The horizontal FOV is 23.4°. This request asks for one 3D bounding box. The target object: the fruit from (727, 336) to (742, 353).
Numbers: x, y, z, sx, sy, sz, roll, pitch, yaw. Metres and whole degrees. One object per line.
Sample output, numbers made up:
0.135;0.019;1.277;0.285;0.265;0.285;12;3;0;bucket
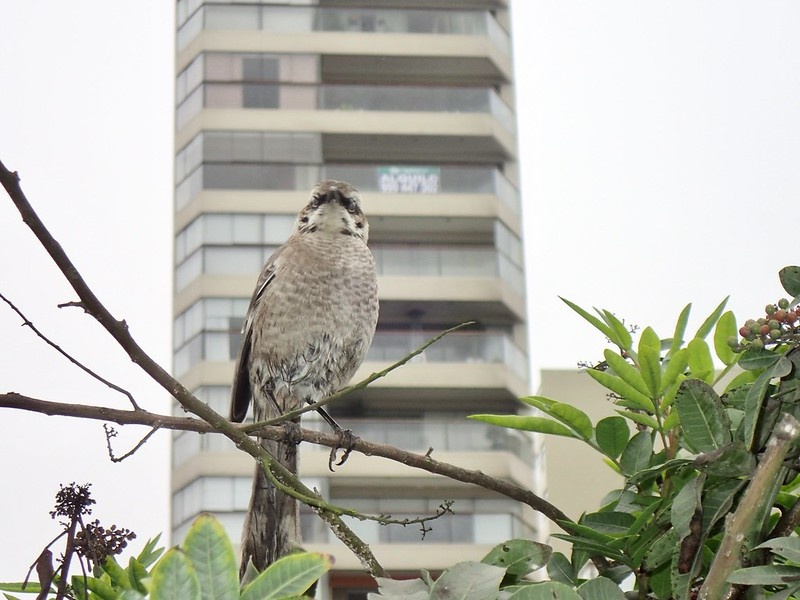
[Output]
5.460;0.706;31.446;0.143;0.140;0.257;-38;-93;9;fruit
